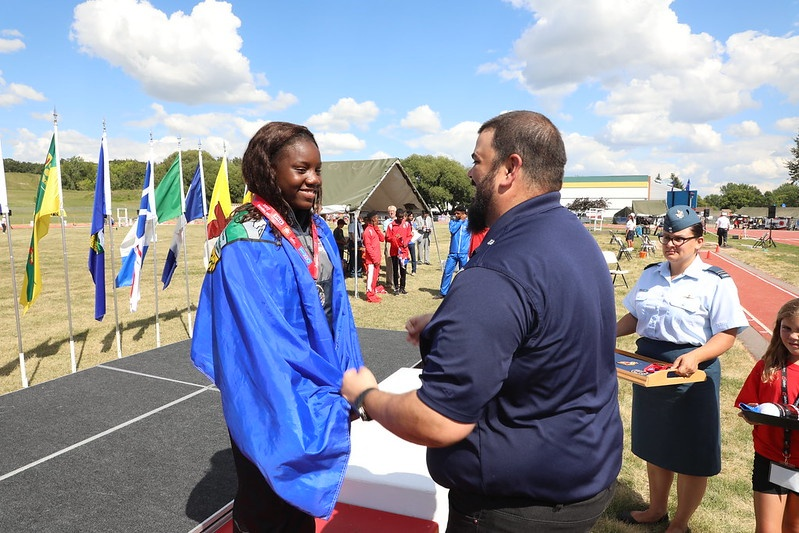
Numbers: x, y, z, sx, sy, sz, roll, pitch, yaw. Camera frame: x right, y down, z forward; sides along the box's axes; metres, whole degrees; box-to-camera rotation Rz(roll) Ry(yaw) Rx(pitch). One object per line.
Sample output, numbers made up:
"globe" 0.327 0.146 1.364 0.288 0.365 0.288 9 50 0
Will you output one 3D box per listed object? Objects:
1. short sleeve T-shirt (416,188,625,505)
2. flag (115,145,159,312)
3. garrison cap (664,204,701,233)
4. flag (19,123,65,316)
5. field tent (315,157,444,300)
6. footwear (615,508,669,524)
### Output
"short sleeve T-shirt" 0.663 0.451 2.851 1.142 1.712 0.350 -1 9 -9
"flag" -3.852 -0.457 7.505 0.662 2.263 0.589 -6 11 -35
"garrison cap" 2.347 -0.409 4.317 0.297 0.184 0.221 -10 9 -17
"flag" -4.571 -0.557 6.488 0.568 2.350 1.188 -5 10 -33
"field tent" -0.954 -1.803 16.798 3.031 2.769 4.642 15 9 23
"footwear" 2.152 2.251 4.559 0.421 0.105 0.168 -5 -1 31
